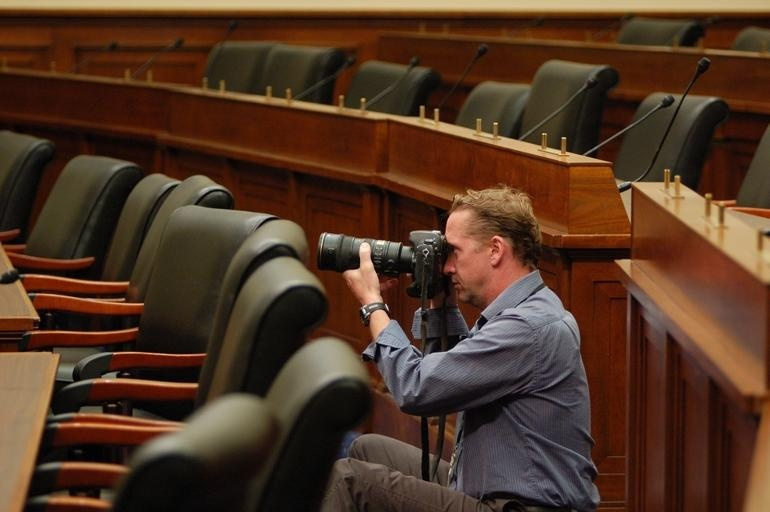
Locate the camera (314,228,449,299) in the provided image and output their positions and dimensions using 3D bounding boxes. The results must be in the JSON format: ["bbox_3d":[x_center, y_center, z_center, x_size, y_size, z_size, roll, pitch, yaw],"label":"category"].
[{"bbox_3d":[0.016,0.006,1.918,0.232,0.133,0.251,5,1,7],"label":"camera"}]

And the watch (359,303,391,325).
[{"bbox_3d":[-0.030,0.162,1.880,0.075,0.084,0.049,6,21,-4],"label":"watch"}]
